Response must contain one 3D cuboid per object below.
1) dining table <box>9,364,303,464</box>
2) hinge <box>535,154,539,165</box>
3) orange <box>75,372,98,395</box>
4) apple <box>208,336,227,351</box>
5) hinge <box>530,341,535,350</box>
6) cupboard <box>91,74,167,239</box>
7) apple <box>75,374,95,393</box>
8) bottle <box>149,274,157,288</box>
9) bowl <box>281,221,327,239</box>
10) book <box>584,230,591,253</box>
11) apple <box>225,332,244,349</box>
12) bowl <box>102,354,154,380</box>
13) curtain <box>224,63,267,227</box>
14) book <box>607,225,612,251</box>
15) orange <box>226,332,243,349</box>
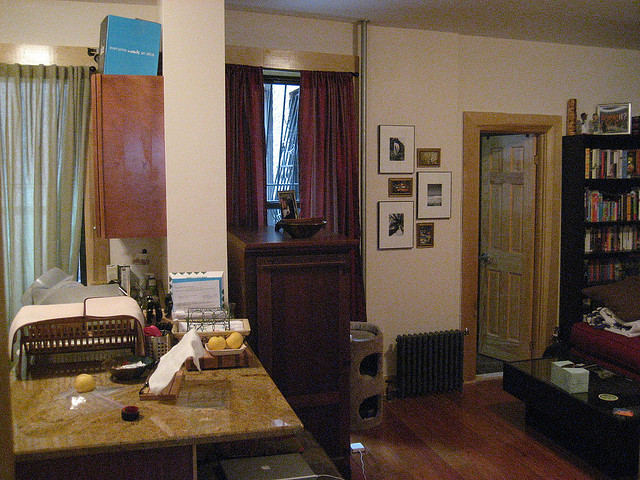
[{"bbox_3d":[-0.885,0.873,2.796,1.464,0.198,0.686,-3,10,-11],"label":"dining table"},{"bbox_3d":[2.331,-0.860,5.753,0.045,0.099,0.022,5,12,30],"label":"hinge"},{"bbox_3d":[-1.243,0.762,2.861,0.096,0.085,0.093,0,4,-10],"label":"orange"},{"bbox_3d":[-0.602,0.607,3.154,0.075,0.074,0.077,-8,18,-43],"label":"apple"},{"bbox_3d":[2.313,1.143,5.836,0.049,0.091,0.025,4,12,24],"label":"hinge"},{"bbox_3d":[-1.509,-0.615,3.766,0.640,1.120,0.584,19,23,32],"label":"cupboard"},{"bbox_3d":[-1.251,0.764,2.854,0.087,0.076,0.084,1,4,-2],"label":"apple"},{"bbox_3d":[-1.284,0.311,4.146,0.040,0.102,0.074,2,11,15],"label":"bottle"},{"bbox_3d":[-0.118,-0.071,3.703,0.298,0.106,0.149,-1,10,-1],"label":"bowl"},{"bbox_3d":[2.823,0.012,5.638,0.081,0.231,0.083,0,11,5],"label":"book"},{"bbox_3d":[-0.504,0.598,3.238,0.111,0.102,0.084,-15,-16,-1],"label":"apple"},{"bbox_3d":[-1.083,0.725,3.053,0.242,0.093,0.222,-1,10,0],"label":"bowl"},{"bbox_3d":[-0.670,-0.783,4.738,0.332,1.477,0.078,-2,7,-4],"label":"curtain"},{"bbox_3d":[3.109,-0.021,5.749,0.059,0.246,0.076,2,11,18],"label":"book"},{"bbox_3d":[-0.507,0.598,3.191,0.095,0.090,0.043,-4,11,-15],"label":"orange"}]
